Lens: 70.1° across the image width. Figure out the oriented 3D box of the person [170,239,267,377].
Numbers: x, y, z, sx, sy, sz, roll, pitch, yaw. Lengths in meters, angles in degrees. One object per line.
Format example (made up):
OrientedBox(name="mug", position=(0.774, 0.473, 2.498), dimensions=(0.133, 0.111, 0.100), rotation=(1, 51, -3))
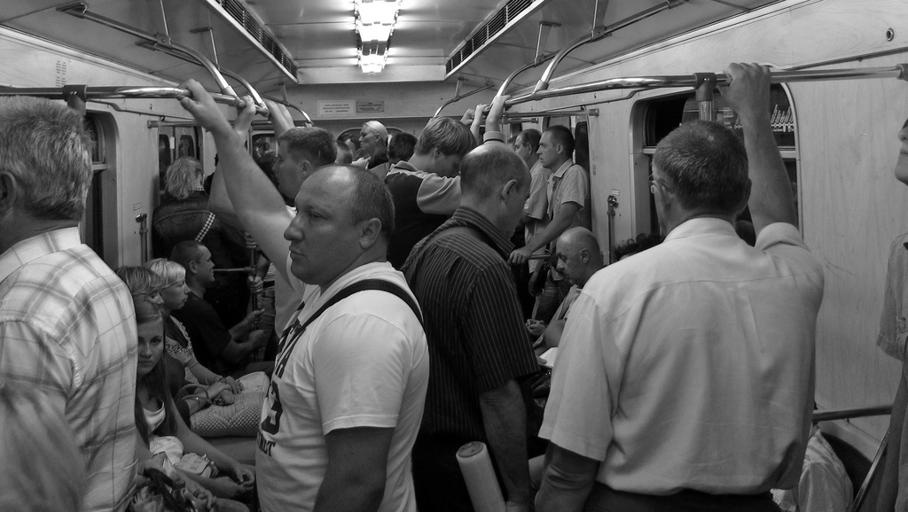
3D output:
OrientedBox(name="person", position=(-2.292, 0.497, 6.271), dimensions=(0.784, 1.287, 0.670), rotation=(-25, 37, -32))
